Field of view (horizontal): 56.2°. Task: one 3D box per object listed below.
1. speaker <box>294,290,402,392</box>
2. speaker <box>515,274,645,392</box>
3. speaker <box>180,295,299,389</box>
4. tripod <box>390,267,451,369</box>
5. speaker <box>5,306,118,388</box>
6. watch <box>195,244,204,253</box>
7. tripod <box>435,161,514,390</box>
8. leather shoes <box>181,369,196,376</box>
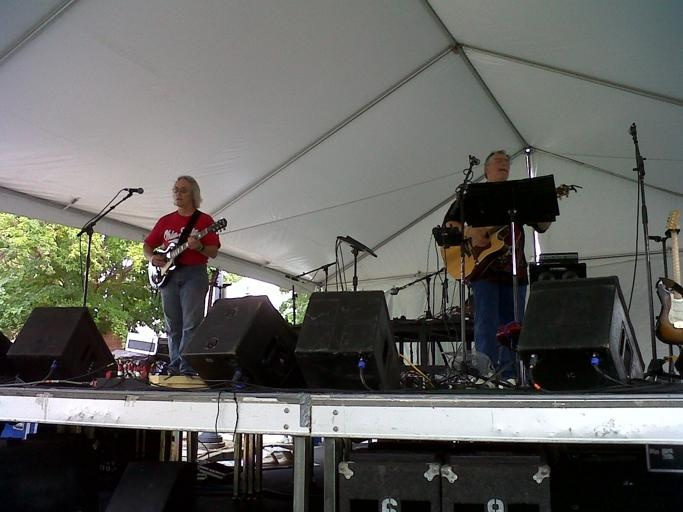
[{"bbox_3d":[0.025,0.462,3.611,0.473,0.490,0.529,-3,17,11],"label":"speaker"},{"bbox_3d":[1.285,0.439,3.437,0.667,0.627,0.559,19,-21,-31],"label":"speaker"},{"bbox_3d":[-0.546,0.572,4.033,0.676,0.480,0.726,19,-15,-24],"label":"speaker"},{"bbox_3d":[0.762,0.686,6.801,0.739,1.050,0.748,-7,-14,35],"label":"tripod"},{"bbox_3d":[-1.842,0.629,4.332,0.564,0.551,0.515,-5,-20,20],"label":"speaker"},{"bbox_3d":[-1.090,-0.062,4.866,0.048,0.028,0.064,-1,-9,-2],"label":"watch"},{"bbox_3d":[1.057,0.092,4.605,0.461,1.701,0.376,-4,15,9],"label":"tripod"},{"bbox_3d":[-1.052,0.794,4.361,0.082,0.046,0.126,1,-8,-7],"label":"leather shoes"}]
